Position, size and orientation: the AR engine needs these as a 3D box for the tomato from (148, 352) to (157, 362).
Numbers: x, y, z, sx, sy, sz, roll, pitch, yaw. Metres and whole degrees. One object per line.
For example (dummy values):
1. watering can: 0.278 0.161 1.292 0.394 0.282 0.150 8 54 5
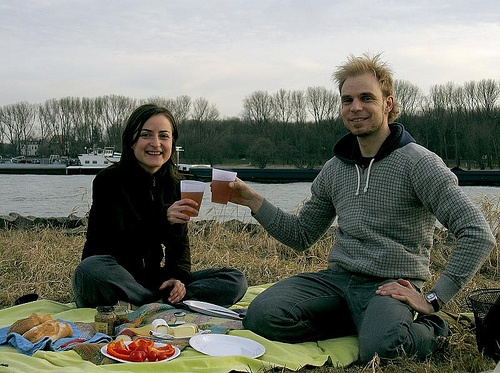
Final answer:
1. tomato: -0.694 1.205 3.568 0.056 0.060 0.067 4 -34 1

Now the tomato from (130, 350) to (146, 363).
1. tomato: -0.785 1.191 3.534 0.082 0.065 0.062 -4 -6 -1

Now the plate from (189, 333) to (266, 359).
1. plate: -0.179 1.217 3.808 0.572 0.083 0.324 1 6 13

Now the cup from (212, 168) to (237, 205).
1. cup: -0.228 0.014 4.539 0.286 0.319 0.287 8 2 0

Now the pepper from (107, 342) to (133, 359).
1. pepper: -0.931 1.172 3.621 0.223 0.082 0.120 2 7 23

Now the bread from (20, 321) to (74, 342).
1. bread: -1.540 1.106 3.874 0.216 0.088 0.159 -5 6 -19

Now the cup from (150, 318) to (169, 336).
1. cup: -0.712 1.107 3.984 0.110 0.111 0.121 0 1 0

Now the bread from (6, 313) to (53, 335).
1. bread: -1.727 1.044 3.950 0.233 0.078 0.149 -16 3 -28

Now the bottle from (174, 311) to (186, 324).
1. bottle: -0.590 1.100 4.223 0.076 0.084 0.084 0 -3 -5
